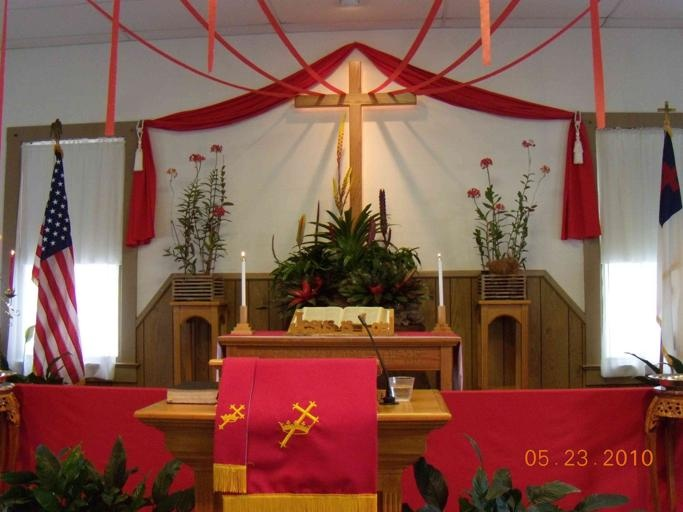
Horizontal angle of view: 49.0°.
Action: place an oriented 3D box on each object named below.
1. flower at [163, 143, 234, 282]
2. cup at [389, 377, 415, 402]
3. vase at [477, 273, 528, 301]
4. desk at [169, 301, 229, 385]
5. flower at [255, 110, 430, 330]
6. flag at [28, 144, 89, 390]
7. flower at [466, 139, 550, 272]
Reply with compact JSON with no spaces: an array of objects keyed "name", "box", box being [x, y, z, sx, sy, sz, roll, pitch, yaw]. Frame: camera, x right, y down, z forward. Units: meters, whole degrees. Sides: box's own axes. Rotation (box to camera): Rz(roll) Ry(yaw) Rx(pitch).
[{"name":"flower","box":[-1.255,-0.416,6.553,0.612,1.177,0.404,0,-5,-2]},{"name":"cup","box":[0.316,0.697,3.896,0.105,0.100,0.104,0,-6,0]},{"name":"vase","box":[1.326,0.262,6.156,0.225,0.167,0.251,0,-5,5]},{"name":"desk","box":[-1.310,0.772,6.410,0.520,0.762,0.584,-1,-5,20]},{"name":"flower","box":[0.026,-0.113,6.102,1.244,1.752,0.600,-4,22,-4]},{"name":"flag","box":[-2.288,0.083,5.959,0.494,1.859,0.404,-3,-5,28]},{"name":"flower","box":[1.433,-0.443,6.388,0.699,1.159,0.396,-1,-5,11]}]
